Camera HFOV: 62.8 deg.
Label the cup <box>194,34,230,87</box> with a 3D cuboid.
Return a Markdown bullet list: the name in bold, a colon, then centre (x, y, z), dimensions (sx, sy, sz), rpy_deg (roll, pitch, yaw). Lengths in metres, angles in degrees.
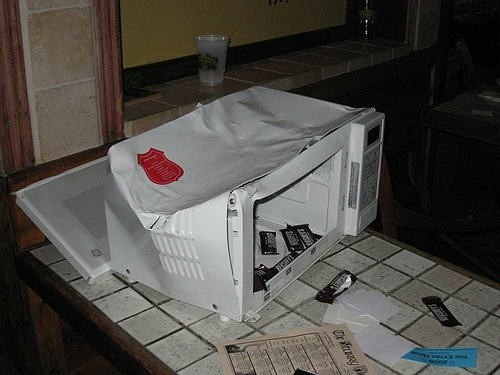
- **cup**: centre (-0.158, -0.557, 1.824), dimensions (0.149, 0.213, 0.072), rpy_deg (-4, 33, 1)

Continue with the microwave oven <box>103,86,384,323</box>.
- **microwave oven**: centre (0.010, 0.011, 1.207), dimensions (0.533, 0.395, 0.713), rpy_deg (22, 38, 38)
